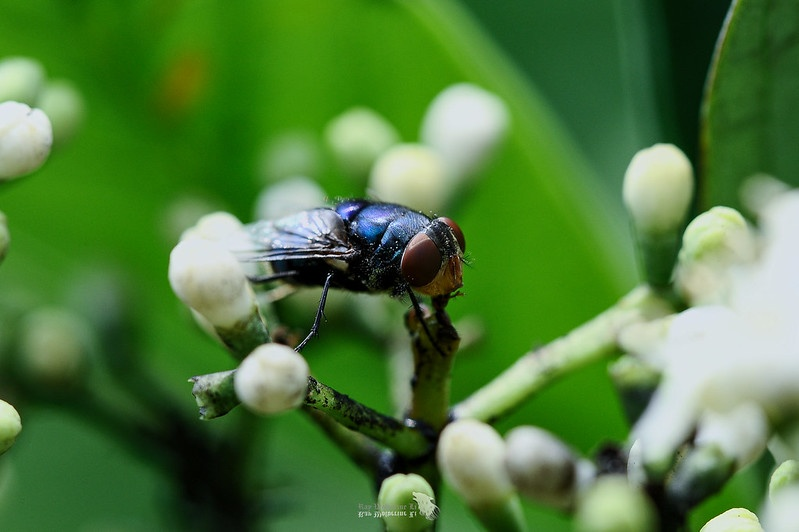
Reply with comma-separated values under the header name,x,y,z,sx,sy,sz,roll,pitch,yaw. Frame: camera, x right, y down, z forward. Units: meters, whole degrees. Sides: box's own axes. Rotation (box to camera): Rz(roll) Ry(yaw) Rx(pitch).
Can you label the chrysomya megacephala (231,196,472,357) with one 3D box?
name,x,y,z,sx,sy,sz,roll,pitch,yaw
chrysomya megacephala,-0.057,-0.054,1.395,0.290,0.130,0.267,21,27,26
